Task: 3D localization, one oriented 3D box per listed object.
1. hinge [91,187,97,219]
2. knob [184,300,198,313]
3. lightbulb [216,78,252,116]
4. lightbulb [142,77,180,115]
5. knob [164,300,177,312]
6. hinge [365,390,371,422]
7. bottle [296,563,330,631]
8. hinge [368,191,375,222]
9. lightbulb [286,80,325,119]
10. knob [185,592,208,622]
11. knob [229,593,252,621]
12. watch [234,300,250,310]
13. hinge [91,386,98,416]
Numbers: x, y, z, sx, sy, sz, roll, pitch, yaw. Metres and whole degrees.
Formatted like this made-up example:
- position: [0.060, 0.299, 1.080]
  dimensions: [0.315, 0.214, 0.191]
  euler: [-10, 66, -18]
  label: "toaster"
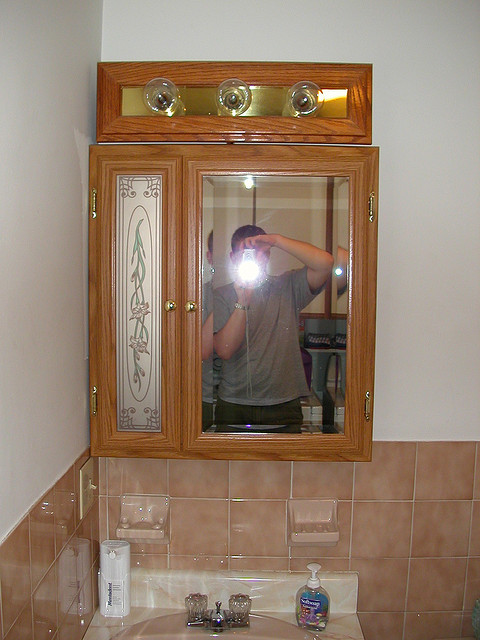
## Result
- position: [-0.335, -0.267, 1.328]
  dimensions: [0.013, 0.068, 0.004]
  euler: [1, 4, -10]
  label: "hinge"
- position: [-0.112, -0.031, 1.326]
  dimensions: [0.027, 0.029, 0.010]
  euler: [1, 4, -5]
  label: "knob"
- position: [-0.016, -0.502, 1.311]
  dimensions: [0.074, 0.071, 0.037]
  euler: [-1, 16, 3]
  label: "lightbulb"
- position: [-0.182, -0.507, 1.319]
  dimensions: [0.082, 0.072, 0.061]
  euler: [-20, 26, 2]
  label: "lightbulb"
- position: [-0.159, -0.033, 1.326]
  dimensions: [0.028, 0.026, 0.008]
  euler: [1, -4, 1]
  label: "knob"
- position: [0.296, 0.198, 1.340]
  dimensions: [0.010, 0.068, 0.009]
  euler: [2, 4, 8]
  label: "hinge"
- position: [0.186, 0.686, 1.469]
  dimensions: [0.086, 0.172, 0.111]
  euler: [2, 4, 8]
  label: "bottle"
- position: [0.300, -0.256, 1.313]
  dimensions: [0.013, 0.066, 0.004]
  euler: [1, 4, -10]
  label: "hinge"
- position: [0.149, -0.496, 1.319]
  dimensions: [0.088, 0.077, 0.035]
  euler: [2, 4, 4]
  label: "lightbulb"
- position: [-0.108, 0.702, 1.418]
  dimensions: [0.060, 0.065, 0.058]
  euler: [4, -15, -19]
  label: "knob"
- position: [-0.001, 0.701, 1.421]
  dimensions: [0.054, 0.056, 0.054]
  euler: [3, -15, -10]
  label: "knob"
- position: [0.002, -0.032, 1.327]
  dimensions: [0.024, 0.025, 0.016]
  euler: [5, 36, 14]
  label: "watch"
- position: [-0.341, 0.190, 1.354]
  dimensions: [0.015, 0.065, 0.006]
  euler: [0, 4, -18]
  label: "hinge"
